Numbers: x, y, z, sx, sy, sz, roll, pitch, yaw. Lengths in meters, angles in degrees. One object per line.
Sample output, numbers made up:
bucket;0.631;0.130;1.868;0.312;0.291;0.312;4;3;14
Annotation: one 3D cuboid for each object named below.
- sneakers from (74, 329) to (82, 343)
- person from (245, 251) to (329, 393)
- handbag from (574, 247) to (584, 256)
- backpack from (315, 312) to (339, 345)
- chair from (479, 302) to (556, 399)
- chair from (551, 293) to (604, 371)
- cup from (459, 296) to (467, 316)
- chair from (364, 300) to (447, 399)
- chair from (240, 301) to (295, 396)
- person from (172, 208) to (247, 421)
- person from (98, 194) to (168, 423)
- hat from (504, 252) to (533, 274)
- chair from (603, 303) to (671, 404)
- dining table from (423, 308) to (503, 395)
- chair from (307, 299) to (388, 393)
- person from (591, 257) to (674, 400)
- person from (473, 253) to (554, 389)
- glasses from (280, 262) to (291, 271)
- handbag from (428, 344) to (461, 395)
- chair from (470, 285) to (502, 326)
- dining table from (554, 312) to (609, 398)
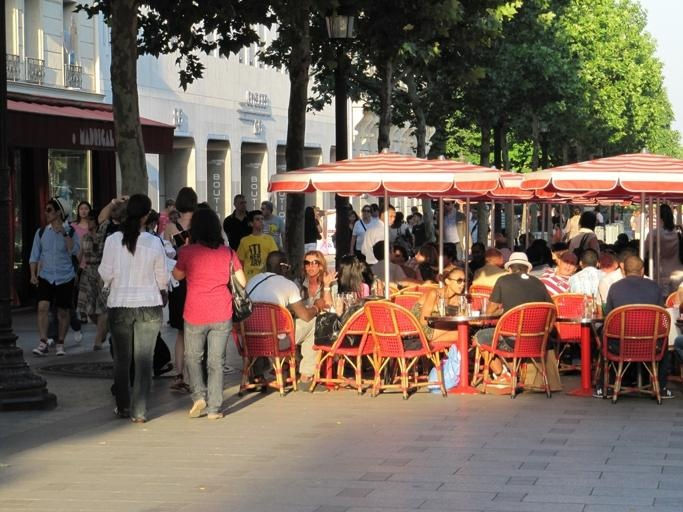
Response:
sneakers;-4.434;1.356;17.904;0.104;0.155;0.336;-1;17;-1
person;-0.460;0.727;14.109;1.164;1.852;1.001;-22;21;-36
handbag;4.289;-0.077;19.296;0.126;0.149;0.144;0;5;5
backpack;-0.187;0.949;13.815;0.321;0.486;0.233;1;-12;15
chair;2.229;1.174;13.650;1.027;1.198;0.785;-1;2;29
chair;3.137;1.083;14.452;0.794;1.163;0.798;0;3;16
cup;1.554;0.625;13.588;0.103;0.229;0.052;-1;2;3
chair;0.812;1.152;13.793;0.967;1.221;1.065;-1;2;7
chair;-0.987;1.106;13.740;0.727;1.304;0.900;-1;13;-4
person;-1.542;0.674;12.365;0.777;2.413;0.296;-2;2;-6
person;-2.373;0.591;12.391;0.694;2.621;0.861;2;-1;8
hat;2.314;0.050;13.997;0.250;0.174;0.310;2;-17;5
chair;3.685;1.163;13.487;0.759;1.319;0.908;-1;9;1
dining table;1.606;1.229;13.885;0.946;1.143;0.993;-2;-5;26
chair;0.048;1.152;14.013;0.950;1.266;0.951;-1;6;-38
person;3.738;0.908;13.662;0.877;1.772;0.883;1;0;31
person;2.244;0.841;14.080;1.035;2.000;1.115;2;12;8
glasses;-0.761;0.158;14.233;0.144;0.170;0.046;0;11;-30
handbag;1.353;1.487;13.886;0.185;0.572;0.413;13;-20;-19
chair;1.895;0.668;14.583;0.452;0.703;0.517;-1;2;23
dining table;3.147;1.268;13.791;0.787;1.035;0.847;0;0;28
